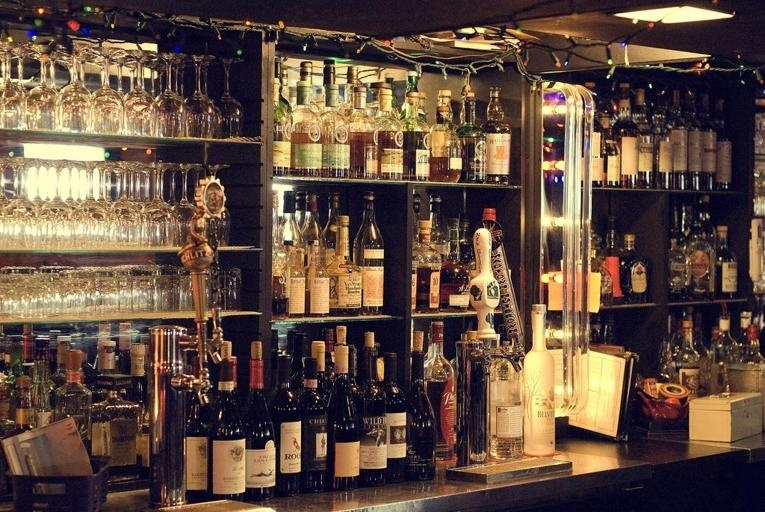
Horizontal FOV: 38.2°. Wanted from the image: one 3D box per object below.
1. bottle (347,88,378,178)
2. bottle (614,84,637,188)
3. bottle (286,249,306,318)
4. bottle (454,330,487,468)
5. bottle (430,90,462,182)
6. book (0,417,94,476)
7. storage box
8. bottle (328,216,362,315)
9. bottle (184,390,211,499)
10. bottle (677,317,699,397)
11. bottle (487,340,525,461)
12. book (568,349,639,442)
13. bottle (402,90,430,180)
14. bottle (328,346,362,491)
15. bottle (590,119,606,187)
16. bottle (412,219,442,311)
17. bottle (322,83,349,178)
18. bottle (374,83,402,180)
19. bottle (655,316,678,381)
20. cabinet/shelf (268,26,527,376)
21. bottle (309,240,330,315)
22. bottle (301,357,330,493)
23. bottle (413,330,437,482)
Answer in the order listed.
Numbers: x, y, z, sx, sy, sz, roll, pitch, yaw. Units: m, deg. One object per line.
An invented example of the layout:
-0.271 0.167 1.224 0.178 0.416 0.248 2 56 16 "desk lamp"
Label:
-0.081 -0.462 4.564 0.115 0.266 0.062 -3 1 -1 "bottle"
1.179 -0.577 5.327 0.109 0.507 0.313 -2 1 13 "bottle"
-0.354 0.102 4.490 0.082 0.219 0.157 -3 1 -5 "bottle"
0.353 0.566 4.343 0.136 0.367 0.054 -3 1 -14 "bottle"
0.271 -0.514 4.752 0.124 0.288 0.162 -2 1 12 "bottle"
-1.145 0.660 3.755 0.284 0.183 0.142 -3 1 -13 "book"
1.525 0.666 4.955 0.194 0.157 0.337 -2 -3 36 "storage box"
-0.157 0.040 4.564 0.136 0.315 0.117 -3 1 -4 "bottle"
-0.668 0.689 4.002 0.098 0.348 0.095 -3 1 0 "bottle"
1.484 0.481 5.342 0.110 0.361 0.245 -2 1 15 "bottle"
0.500 0.585 4.423 0.102 0.322 0.145 -2 1 38 "bottle"
1.004 0.617 4.898 0.376 0.377 0.095 11 0 42 "book"
0.147 -0.508 4.751 0.115 0.278 0.255 -3 1 2 "bottle"
-0.151 0.612 4.205 0.121 0.422 0.110 -3 1 -14 "bottle"
1.012 -0.486 5.177 0.048 0.310 0.125 -2 1 24 "bottle"
0.194 0.041 4.776 0.124 0.283 0.211 -3 1 3 "bottle"
-0.196 -0.506 4.520 0.115 0.296 0.142 -3 1 -2 "bottle"
0.025 -0.523 4.617 0.112 0.305 0.104 -3 1 0 "bottle"
1.375 0.448 5.350 0.093 0.304 0.303 -2 1 14 "bottle"
0.038 -0.214 4.620 1.470 1.568 0.468 2 -5 -32 "cabinet/shelf"
-0.265 0.093 4.470 0.077 0.234 0.064 -3 1 -19 "bottle"
-0.250 0.633 4.185 0.084 0.399 0.147 -2 1 23 "bottle"
0.150 0.582 4.339 0.102 0.433 0.116 -3 1 2 "bottle"
